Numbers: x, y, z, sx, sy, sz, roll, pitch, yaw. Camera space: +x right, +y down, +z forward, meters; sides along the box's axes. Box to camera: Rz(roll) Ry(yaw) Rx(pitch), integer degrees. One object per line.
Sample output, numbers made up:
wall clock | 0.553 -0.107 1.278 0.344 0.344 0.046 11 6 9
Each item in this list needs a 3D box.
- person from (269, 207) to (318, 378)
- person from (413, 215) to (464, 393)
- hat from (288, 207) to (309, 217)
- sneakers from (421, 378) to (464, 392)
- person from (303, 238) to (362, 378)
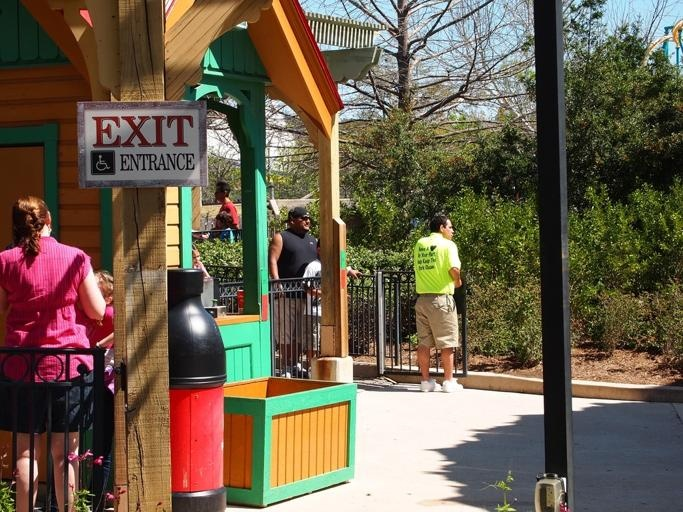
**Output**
person | -0.618 0.442 14.026 0.680 2.119 0.593 0 -6 -20
person | 1.143 0.695 13.375 0.509 1.863 0.698 -2 -6 2
hat | -0.562 -0.537 14.035 0.230 0.159 0.352 -2 -6 -5
sneakers | 1.214 1.580 13.588 0.521 0.236 0.195 -1 -1 2
person | -0.244 0.713 14.186 0.477 1.614 0.833 20 24 35
